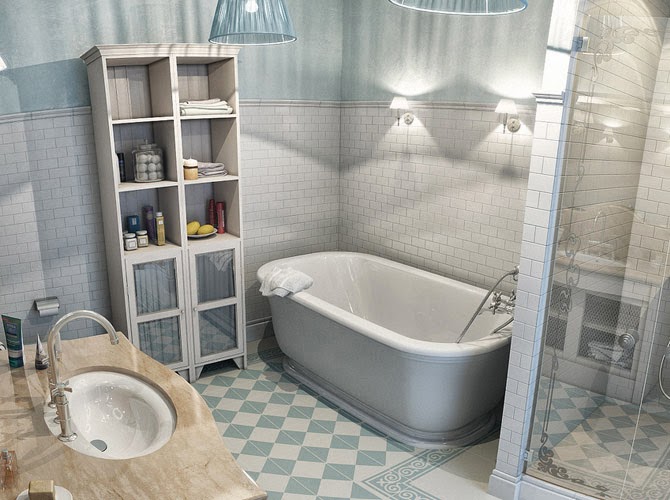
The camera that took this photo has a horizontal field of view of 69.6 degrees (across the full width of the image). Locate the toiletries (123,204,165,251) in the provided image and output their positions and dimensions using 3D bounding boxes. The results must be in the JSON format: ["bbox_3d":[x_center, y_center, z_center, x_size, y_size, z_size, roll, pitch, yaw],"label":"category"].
[{"bbox_3d":[-1.632,-0.183,4.091,0.369,0.336,0.256,-9,14,-42],"label":"toiletries"}]

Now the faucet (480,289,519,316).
[{"bbox_3d":[1.276,0.397,3.626,0.223,0.129,0.305,21,35,40],"label":"faucet"}]

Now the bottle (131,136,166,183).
[{"bbox_3d":[-1.522,-0.737,3.920,0.333,0.436,0.317,1,11,0],"label":"bottle"}]

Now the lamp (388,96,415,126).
[{"bbox_3d":[0.646,-1.301,4.515,0.234,0.270,0.310,9,12,37],"label":"lamp"}]

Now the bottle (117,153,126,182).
[{"bbox_3d":[-1.754,-0.685,3.985,0.063,0.233,0.250,-8,22,-21],"label":"bottle"}]

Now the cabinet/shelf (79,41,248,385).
[{"bbox_3d":[-1.381,-0.266,4.228,1.303,2.853,0.885,-11,24,-28],"label":"cabinet/shelf"}]

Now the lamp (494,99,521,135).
[{"bbox_3d":[1.351,-1.050,3.791,0.235,0.254,0.168,15,25,34],"label":"lamp"}]

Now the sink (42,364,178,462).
[{"bbox_3d":[-1.065,0.852,2.290,0.532,0.237,0.646,36,-10,-30],"label":"sink"}]

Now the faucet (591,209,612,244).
[{"bbox_3d":[1.532,-0.141,2.769,0.095,0.175,0.048,14,25,32],"label":"faucet"}]

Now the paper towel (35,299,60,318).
[{"bbox_3d":[-2.327,0.451,3.899,0.168,0.101,0.159,-3,32,-28],"label":"paper towel"}]

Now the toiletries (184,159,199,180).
[{"bbox_3d":[-1.210,-0.674,4.047,0.115,0.157,0.103,-7,22,-18],"label":"toiletries"}]

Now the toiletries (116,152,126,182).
[{"bbox_3d":[-1.756,-0.687,3.990,0.063,0.233,0.240,-8,22,-21],"label":"toiletries"}]

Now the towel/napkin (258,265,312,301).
[{"bbox_3d":[-0.422,0.268,4.206,0.327,0.107,0.308,15,25,34],"label":"towel/napkin"}]

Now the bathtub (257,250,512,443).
[{"bbox_3d":[0.454,0.729,4.212,2.138,1.006,1.196,17,26,39],"label":"bathtub"}]
